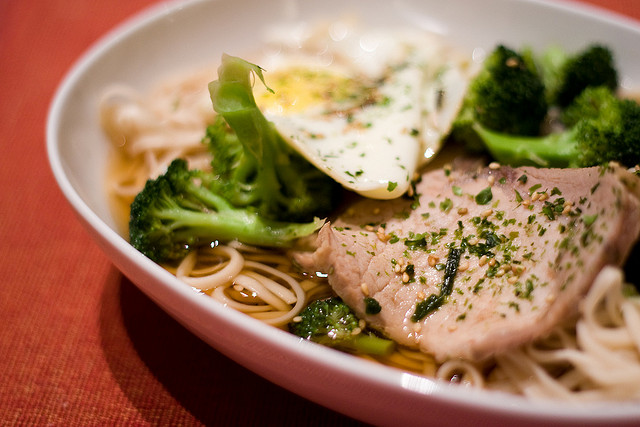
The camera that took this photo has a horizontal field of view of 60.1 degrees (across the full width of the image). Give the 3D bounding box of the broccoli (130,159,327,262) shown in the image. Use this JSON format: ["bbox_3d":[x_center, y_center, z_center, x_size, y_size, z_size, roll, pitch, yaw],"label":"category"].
[{"bbox_3d":[-0.542,0.060,3.083,1.037,0.499,0.650,13,31,8],"label":"broccoli"}]

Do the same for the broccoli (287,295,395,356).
[{"bbox_3d":[0.107,0.606,2.748,0.476,0.131,0.288,34,67,25],"label":"broccoli"}]

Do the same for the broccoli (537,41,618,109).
[{"bbox_3d":[1.502,-0.842,3.280,0.386,0.186,0.425,-18,61,21],"label":"broccoli"}]
